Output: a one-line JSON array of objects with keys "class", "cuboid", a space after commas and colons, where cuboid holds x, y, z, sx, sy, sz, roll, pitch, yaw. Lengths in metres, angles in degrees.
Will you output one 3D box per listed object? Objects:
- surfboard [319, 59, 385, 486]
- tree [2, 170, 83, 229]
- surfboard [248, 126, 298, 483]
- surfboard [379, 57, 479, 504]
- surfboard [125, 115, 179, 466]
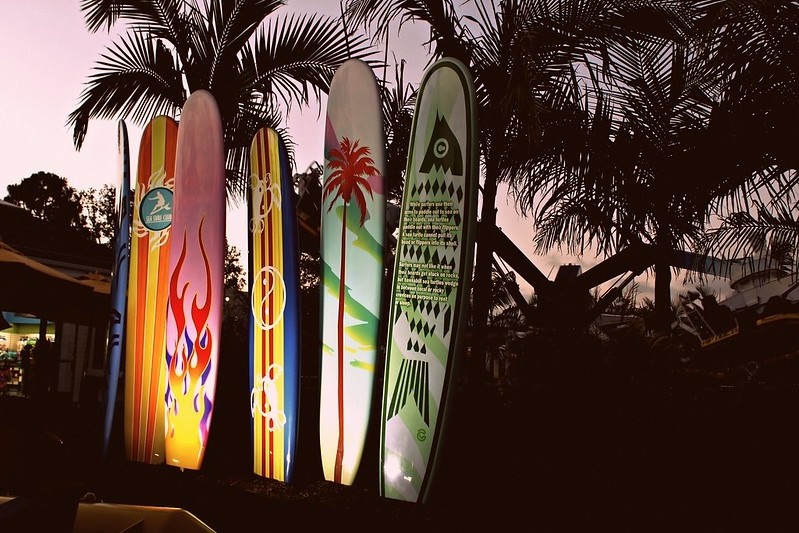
[{"class": "surfboard", "cuboid": [-0.449, 0.042, 6.042, 0.586, 4.119, 0.404, -1, -2, 27]}, {"class": "tree", "cuboid": [-15.202, -2.860, 27.147, 2.642, 2.441, 1.530, -7, 8, -30]}, {"class": "surfboard", "cuboid": [-1.264, 0.313, 6.211, 0.548, 3.326, 0.907, -3, 6, -10]}, {"class": "surfboard", "cuboid": [0.342, 0.202, 5.943, 0.726, 4.609, 0.434, 1, -3, 31]}, {"class": "surfboard", "cuboid": [-2.627, 0.457, 6.683, 0.555, 3.737, 0.274, 0, -4, 24]}]
